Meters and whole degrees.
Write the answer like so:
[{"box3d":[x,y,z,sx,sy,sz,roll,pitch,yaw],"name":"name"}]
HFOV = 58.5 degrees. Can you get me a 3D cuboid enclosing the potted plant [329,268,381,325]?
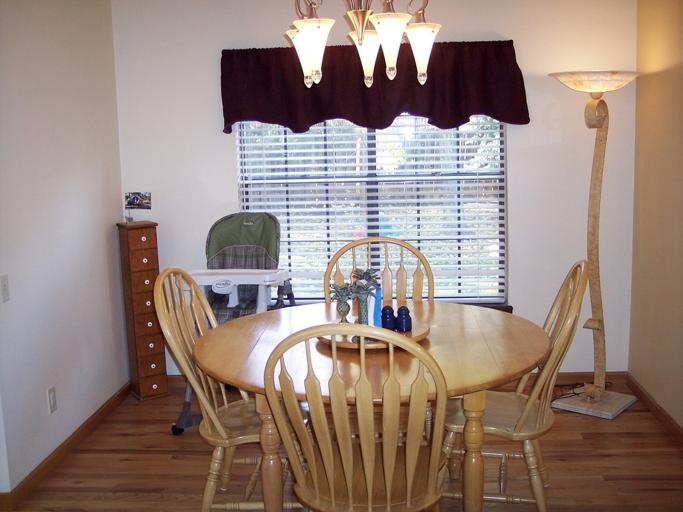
[{"box3d":[0.076,0.199,3.121,0.289,0.305,0.205,1,8,3],"name":"potted plant"}]
